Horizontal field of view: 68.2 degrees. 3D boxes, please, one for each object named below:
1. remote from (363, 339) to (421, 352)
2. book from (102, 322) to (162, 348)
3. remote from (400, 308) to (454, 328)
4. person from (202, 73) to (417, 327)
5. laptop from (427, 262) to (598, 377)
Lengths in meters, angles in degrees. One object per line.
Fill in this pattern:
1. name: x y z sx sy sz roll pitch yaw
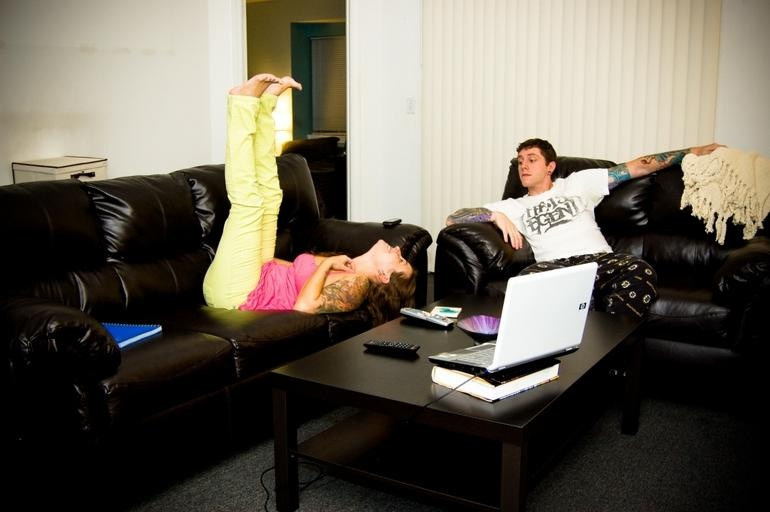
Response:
1. remote: 0.033 0.378 2.477 0.211 0.027 0.083 2 7 19
2. book: -1.172 0.354 2.677 0.224 0.049 0.284 -9 14 -36
3. remote: 0.218 0.300 2.800 0.192 0.043 0.105 13 9 22
4. person: -0.659 -0.345 3.820 1.595 1.703 0.988 0 8 -8
5. laptop: 0.519 0.124 2.267 0.551 0.394 0.454 -6 10 -41
